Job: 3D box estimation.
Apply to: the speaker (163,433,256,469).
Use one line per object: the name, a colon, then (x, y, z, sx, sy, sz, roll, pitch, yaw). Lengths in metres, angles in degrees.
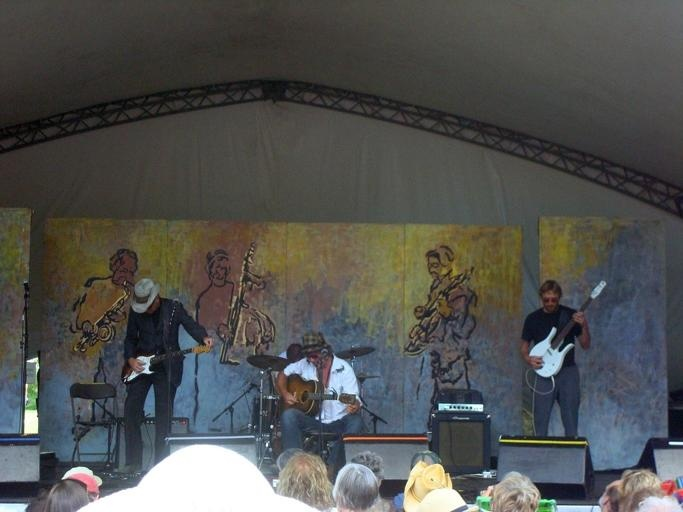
speaker: (-1.140, 1.714, 9.257, 0.759, 0.201, 0.128, 1, -4, -7)

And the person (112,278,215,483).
person: (-2.222, 1.563, 13.187, 1.193, 2.486, 0.815, 1, -4, 18)

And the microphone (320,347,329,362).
microphone: (-0.191, 1.223, 13.022, 0.104, 0.147, 0.144, 0, -25, -2)

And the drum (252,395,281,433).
drum: (-0.958, 1.980, 13.163, 0.395, 0.422, 0.406, 3, -10, -14)

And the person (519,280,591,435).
person: (2.673, 1.292, 13.273, 0.730, 2.092, 0.694, 3, 2, 2)

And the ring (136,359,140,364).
ring: (-2.527, 1.331, 13.172, 0.030, 0.046, 0.011, -18, -28, 11)

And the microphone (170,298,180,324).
microphone: (-2.127, 0.700, 13.482, 0.093, 0.254, 0.068, 6, -22, 3)

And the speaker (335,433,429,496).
speaker: (0.515, 2.571, 11.985, 1.093, 0.840, 0.619, 0, -1, 2)

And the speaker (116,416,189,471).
speaker: (-2.432, 2.689, 13.316, 1.207, 0.946, 0.683, -6, -11, 30)
